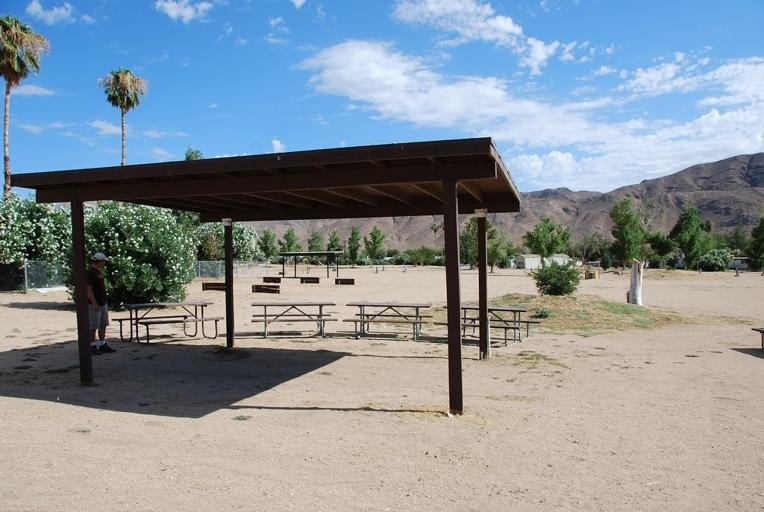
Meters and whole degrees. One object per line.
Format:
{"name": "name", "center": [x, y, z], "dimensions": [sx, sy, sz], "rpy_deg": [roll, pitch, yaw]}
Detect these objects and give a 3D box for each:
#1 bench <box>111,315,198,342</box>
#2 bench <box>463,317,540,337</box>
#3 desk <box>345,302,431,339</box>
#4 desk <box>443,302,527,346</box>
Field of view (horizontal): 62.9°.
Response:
{"name": "bench", "center": [-6.186, 1.820, 16.761], "dimensions": [1.364, 0.644, 1.577], "rpy_deg": [1, -2, 39]}
{"name": "bench", "center": [3.505, 1.863, 16.941], "dimensions": [1.274, 0.279, 1.173], "rpy_deg": [0, 0, 28]}
{"name": "desk", "center": [0.413, 1.774, 18.487], "dimensions": [1.734, 0.564, 1.410], "rpy_deg": [0, 0, 19]}
{"name": "desk", "center": [2.630, 1.731, 15.669], "dimensions": [1.506, 0.494, 1.287], "rpy_deg": [0, 1, 28]}
